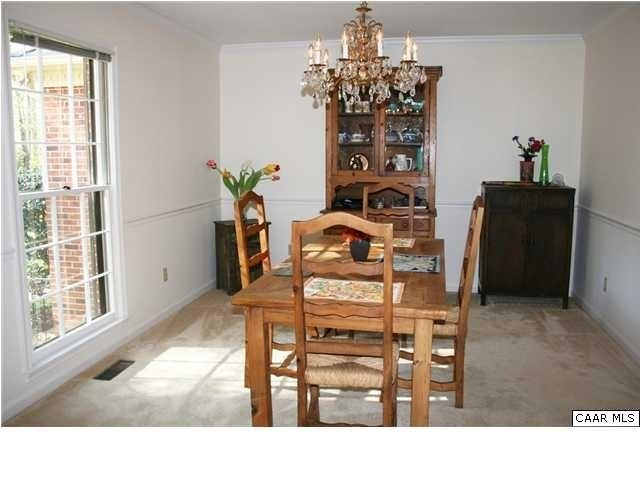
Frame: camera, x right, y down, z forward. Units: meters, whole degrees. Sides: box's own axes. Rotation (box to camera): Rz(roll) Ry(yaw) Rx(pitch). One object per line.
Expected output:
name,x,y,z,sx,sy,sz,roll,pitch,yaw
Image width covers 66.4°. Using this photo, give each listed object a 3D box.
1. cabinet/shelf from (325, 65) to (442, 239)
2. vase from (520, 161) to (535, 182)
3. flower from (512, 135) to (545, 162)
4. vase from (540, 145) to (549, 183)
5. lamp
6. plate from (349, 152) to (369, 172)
cabinet/shelf,0.724,-0.765,5.395,1.332,2.167,0.600,9,27,23
vase,2.139,-0.701,5.037,0.131,0.228,0.112,4,13,18
flower,2.202,-0.936,5.148,0.330,0.322,0.300,2,9,29
vase,2.355,-0.784,5.088,0.100,0.401,0.227,5,13,23
lamp,0.405,-1.603,4.155,1.034,0.701,0.976,-4,19,-6
plate,0.427,-0.835,5.266,0.231,0.222,0.055,-1,1,12
